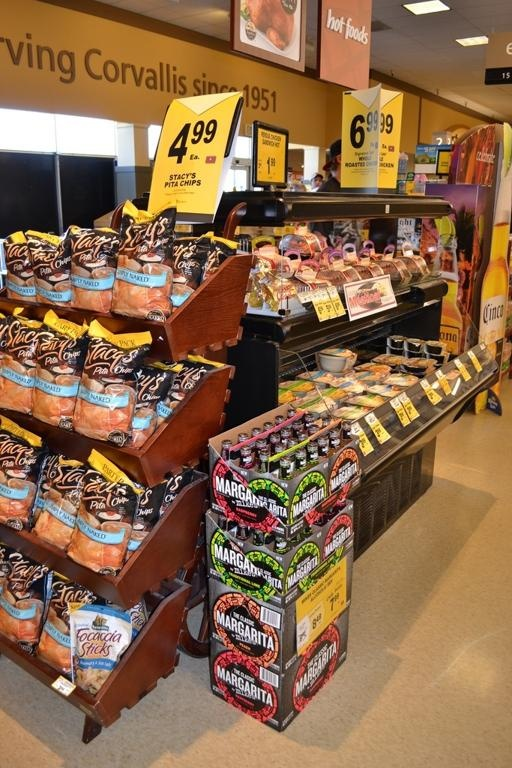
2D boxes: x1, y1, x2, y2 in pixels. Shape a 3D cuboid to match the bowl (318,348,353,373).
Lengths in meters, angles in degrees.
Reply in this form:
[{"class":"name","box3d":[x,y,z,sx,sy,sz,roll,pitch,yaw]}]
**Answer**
[{"class":"bowl","box3d":[0.346,-0.103,2.409,0.120,0.063,0.130,2,17,-1]}]
